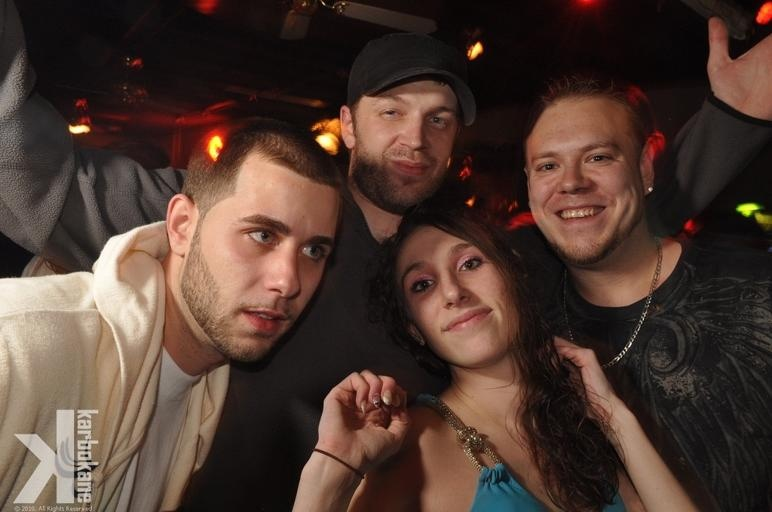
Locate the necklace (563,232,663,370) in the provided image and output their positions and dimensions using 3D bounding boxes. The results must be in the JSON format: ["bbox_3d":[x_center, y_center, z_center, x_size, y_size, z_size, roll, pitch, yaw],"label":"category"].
[{"bbox_3d":[1.054,0.217,2.762,0.309,0.529,0.089,17,-4,15],"label":"necklace"}]

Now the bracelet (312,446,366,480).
[{"bbox_3d":[-0.167,0.738,2.298,0.178,0.100,0.019,3,7,3],"label":"bracelet"}]
